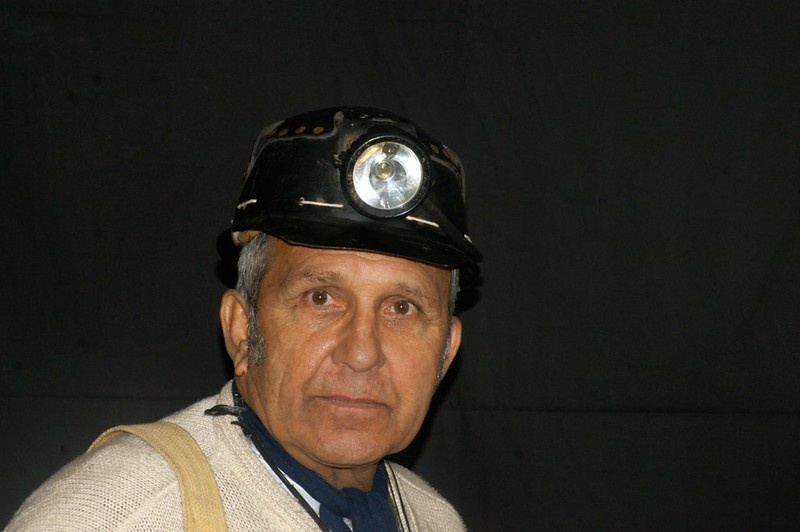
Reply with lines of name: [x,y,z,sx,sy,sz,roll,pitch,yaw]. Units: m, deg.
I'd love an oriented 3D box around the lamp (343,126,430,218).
lamp: [-0.021,-0.462,4.746,0.566,0.136,0.584,10,-10,-23]

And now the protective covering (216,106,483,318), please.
protective covering: [-0.228,-0.356,5.188,1.398,0.835,1.471,12,-11,-28]
